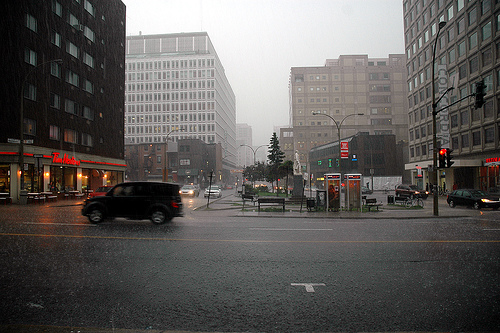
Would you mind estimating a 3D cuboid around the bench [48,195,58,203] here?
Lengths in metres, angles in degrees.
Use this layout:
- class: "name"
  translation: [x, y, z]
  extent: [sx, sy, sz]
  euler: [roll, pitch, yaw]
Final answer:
- class: "bench"
  translation: [-21.094, 3.306, 45.460]
  extent: [0.941, 1.062, 2.475]
  euler: [-5, 10, -26]

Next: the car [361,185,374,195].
- class: "car"
  translation: [19.366, 3.564, 70.246]
  extent: [1.978, 1.753, 3.468]
  euler: [-1, -11, 10]

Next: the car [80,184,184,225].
- class: "car"
  translation: [-7.517, 2.425, 28.523]
  extent: [5.688, 2.482, 2.907]
  euler: [2, -6, -1]

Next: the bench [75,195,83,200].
- class: "bench"
  translation: [-19.862, 3.514, 49.306]
  extent: [0.688, 0.744, 0.576]
  euler: [3, -10, -28]

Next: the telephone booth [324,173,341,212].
- class: "telephone booth"
  translation: [6.796, 1.978, 34.802]
  extent: [1.226, 2.807, 1.052]
  euler: [0, 9, 3]

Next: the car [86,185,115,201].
- class: "car"
  translation: [-14.302, 2.408, 40.097]
  extent: [1.609, 1.616, 3.018]
  euler: [-1, -9, 0]

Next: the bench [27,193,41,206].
- class: "bench"
  translation: [-21.598, 3.062, 42.441]
  extent: [1.240, 1.067, 0.837]
  euler: [-5, 11, -30]

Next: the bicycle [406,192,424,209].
- class: "bicycle"
  translation: [15.227, 3.271, 40.005]
  extent: [1.119, 1.471, 2.316]
  euler: [1, -3, -17]

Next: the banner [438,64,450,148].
- class: "banner"
  translation: [28.593, -8.592, 62.025]
  extent: [1.635, 16.334, 1.130]
  euler: [13, 47, 39]

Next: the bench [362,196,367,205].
- class: "bench"
  translation: [10.065, 2.871, 37.227]
  extent: [0.592, 0.818, 0.619]
  euler: [-2, -6, 21]

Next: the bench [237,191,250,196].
- class: "bench"
  translation: [-0.647, 2.880, 46.534]
  extent: [1.601, 0.403, 1.560]
  euler: [0, -4, -1]
